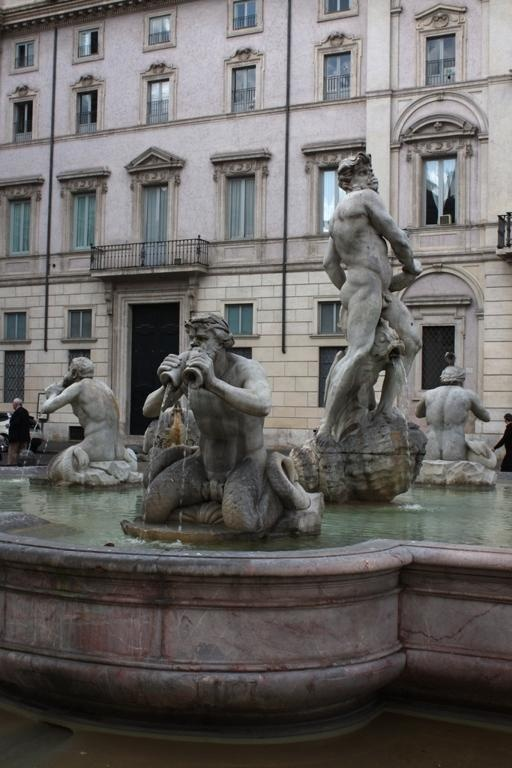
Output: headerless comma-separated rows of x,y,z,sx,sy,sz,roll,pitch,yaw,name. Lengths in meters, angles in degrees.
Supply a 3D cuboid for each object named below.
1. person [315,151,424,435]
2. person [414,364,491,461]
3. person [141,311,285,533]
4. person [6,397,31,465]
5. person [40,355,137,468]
0.771,-0.555,6.414,1.002,1.716,0.567,-6,10,-39,person
2.033,0.290,9.006,0.698,0.901,0.800,1,8,6,person
-0.211,0.174,4.175,0.671,1.024,0.847,-2,8,-11,person
-4.537,0.998,16.530,0.333,1.043,0.800,-1,8,-3,person
-1.566,0.286,7.747,0.609,1.056,1.049,6,10,38,person
